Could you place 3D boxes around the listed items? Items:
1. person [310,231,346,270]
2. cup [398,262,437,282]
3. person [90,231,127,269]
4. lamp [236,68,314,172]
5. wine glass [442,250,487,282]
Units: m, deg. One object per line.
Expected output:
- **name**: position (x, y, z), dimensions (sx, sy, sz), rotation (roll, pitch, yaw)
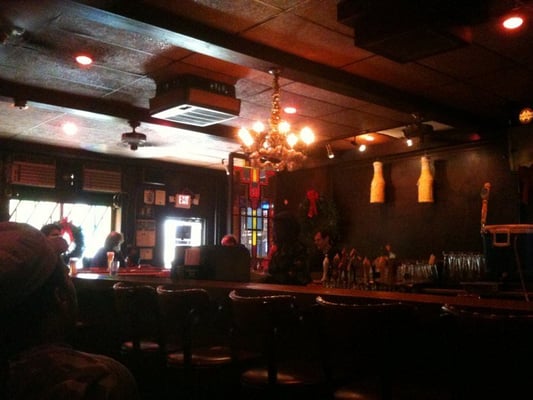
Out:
- **person**: position (0.956, 0.737, 7.572), dimensions (0.509, 0.714, 0.524), rotation (-4, -28, 9)
- **cup**: position (1.409, 0.687, 4.620), dimensions (0.244, 0.114, 0.306), rotation (1, -10, -7)
- **person**: position (-2.618, 0.906, 8.273), dimensions (0.406, 0.728, 0.562), rotation (24, 21, 35)
- **lamp**: position (0.109, -0.884, 5.814), dimensions (1.142, 1.283, 1.087), rotation (0, -8, 4)
- **wine glass**: position (2.017, 0.690, 5.016), dimensions (0.396, 0.278, 0.187), rotation (-2, -9, 18)
